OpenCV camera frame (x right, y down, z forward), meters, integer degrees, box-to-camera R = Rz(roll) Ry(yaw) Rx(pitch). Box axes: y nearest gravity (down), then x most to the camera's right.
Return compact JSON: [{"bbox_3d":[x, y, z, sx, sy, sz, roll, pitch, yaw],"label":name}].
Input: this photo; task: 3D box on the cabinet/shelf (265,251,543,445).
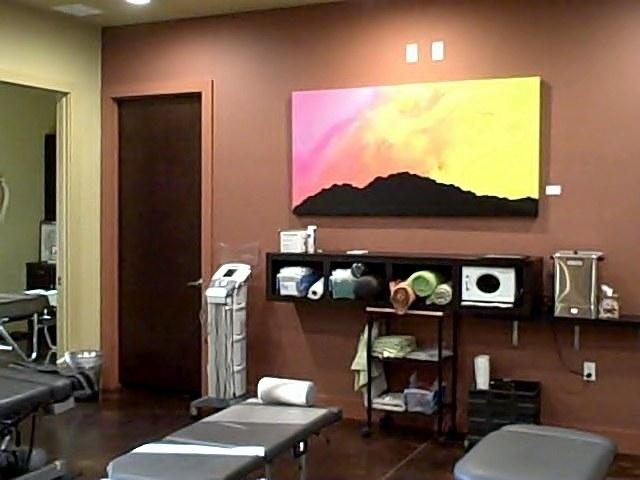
[{"bbox_3d":[0.565,0.753,4.630,2.146,1.323,0.559,1,0,16],"label":"cabinet/shelf"}]
